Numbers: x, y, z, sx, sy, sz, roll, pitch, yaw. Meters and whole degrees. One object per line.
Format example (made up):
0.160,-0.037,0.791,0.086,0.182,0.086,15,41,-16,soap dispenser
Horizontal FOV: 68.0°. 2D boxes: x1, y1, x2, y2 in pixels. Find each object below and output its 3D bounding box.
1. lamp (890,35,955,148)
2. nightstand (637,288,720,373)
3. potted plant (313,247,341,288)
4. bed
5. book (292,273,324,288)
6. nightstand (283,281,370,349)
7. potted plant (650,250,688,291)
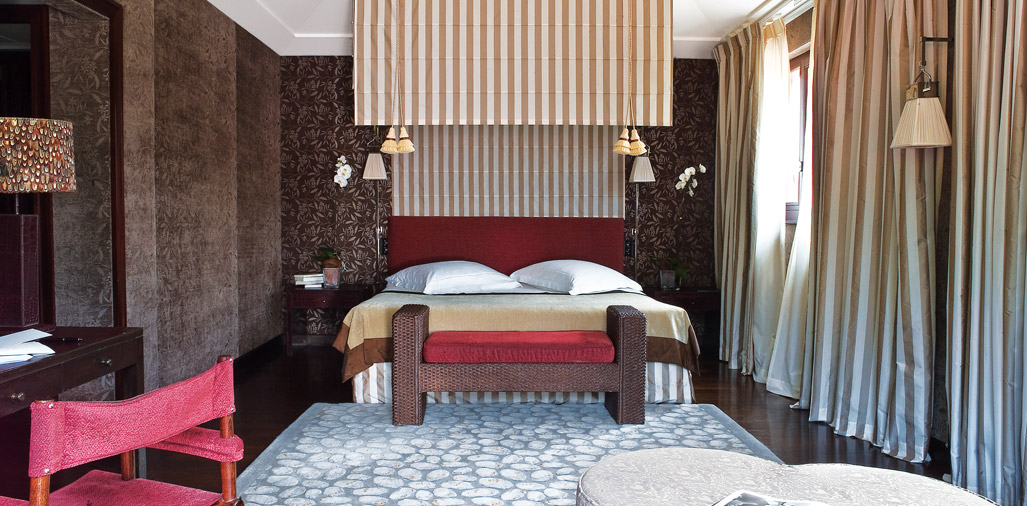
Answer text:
3.428,-1.351,6.343,0.454,0.947,0.348,2,7,16,lamp
1.956,0.751,9.041,0.857,0.786,0.595,-2,14,-11,nightstand
-2.125,0.167,8.851,0.299,0.484,0.262,3,-5,-39,potted plant
0.216,0.709,8.234,2.749,1.314,2.556,0,0,0,bed
-2.350,0.319,8.789,0.217,0.071,0.220,-5,7,-44,book
-2.140,0.587,9.052,1.178,0.940,0.793,0,1,-4,nightstand
1.897,0.255,8.980,0.357,0.251,0.380,-4,3,-35,potted plant
